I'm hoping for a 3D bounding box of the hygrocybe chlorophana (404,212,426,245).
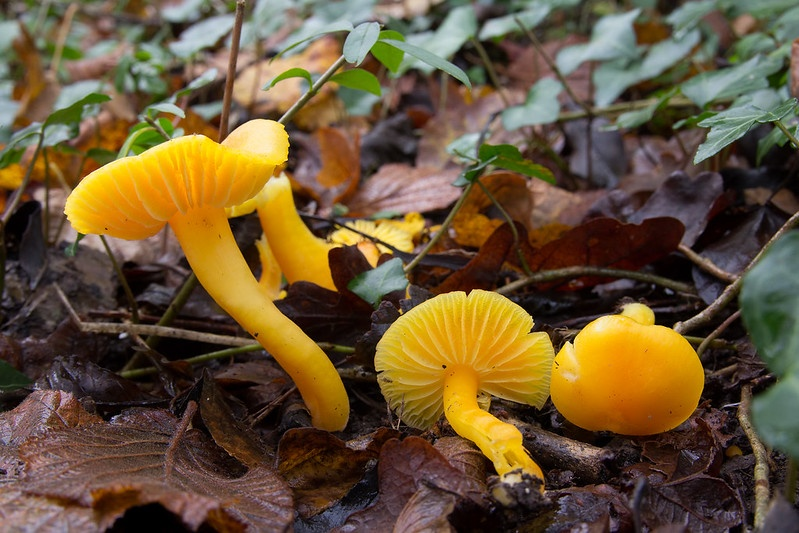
[{"bbox_3d":[0.063,-0.145,2.682,0.024,0.095,0.087,-9,1,-20],"label":"hygrocybe chlorophana"}]
